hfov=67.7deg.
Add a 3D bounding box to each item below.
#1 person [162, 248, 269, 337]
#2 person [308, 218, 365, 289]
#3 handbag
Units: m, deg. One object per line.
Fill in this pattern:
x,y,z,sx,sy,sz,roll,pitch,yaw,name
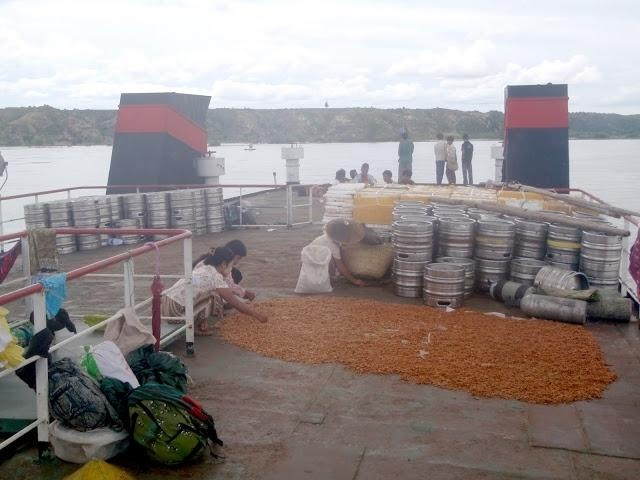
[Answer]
-1.490,0.781,6.943,1.489,1.156,0.849,3,10,-20,person
0.505,0.369,9.355,1.304,1.141,1.035,3,15,1,person
-1.601,1.483,4.194,1.232,0.508,0.859,8,32,5,handbag
